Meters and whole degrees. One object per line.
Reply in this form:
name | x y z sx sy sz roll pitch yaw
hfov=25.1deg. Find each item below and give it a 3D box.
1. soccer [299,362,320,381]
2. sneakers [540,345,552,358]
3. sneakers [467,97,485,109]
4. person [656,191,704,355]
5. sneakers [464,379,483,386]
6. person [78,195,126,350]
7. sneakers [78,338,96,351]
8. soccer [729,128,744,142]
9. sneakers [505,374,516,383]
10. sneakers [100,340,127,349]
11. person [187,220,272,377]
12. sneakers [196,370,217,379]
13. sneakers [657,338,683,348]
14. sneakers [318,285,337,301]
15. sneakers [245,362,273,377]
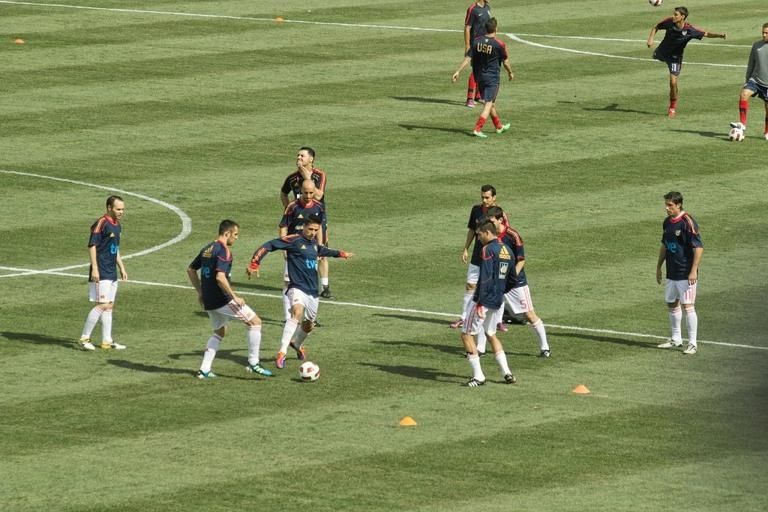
soccer | -1.321 2.110 30.123 0.354 0.327 0.405 -2 14 -3
sneakers | 2.899 1.846 31.132 0.197 0.164 0.203 -1 14 1
sneakers | 2.251 -3.641 43.029 0.196 0.202 0.504 -2 1 -30
person | 5.356 0.384 31.421 0.771 2.841 1.323 1 16 8
sneakers | 1.581 2.314 30.089 0.315 0.136 0.137 0 15 3
person | -5.162 0.406 31.322 0.861 2.661 1.223 -2 16 -2
sneakers | -5.370 1.724 31.119 0.316 0.144 0.172 30 15 28
soccer | 8.206 -2.703 40.438 0.359 0.235 0.347 11 30 37
sneakers | 2.189 2.237 30.239 0.196 0.180 0.258 0 14 4
sneakers | -4.921 1.731 31.182 0.378 0.119 0.164 -1 1 -4
person | -2.766 0.838 30.338 1.294 2.704 1.078 -3 16 -6
sneakers | -3.135 2.190 30.224 0.387 0.135 0.129 2 8 -31
sneakers | 5.197 1.713 31.467 0.494 0.171 0.164 0 3 4
sneakers | -1.111 0.857 33.482 0.143 0.240 0.382 5 8 12
sneakers | -2.211 2.121 30.253 0.428 0.152 0.212 10 11 3
